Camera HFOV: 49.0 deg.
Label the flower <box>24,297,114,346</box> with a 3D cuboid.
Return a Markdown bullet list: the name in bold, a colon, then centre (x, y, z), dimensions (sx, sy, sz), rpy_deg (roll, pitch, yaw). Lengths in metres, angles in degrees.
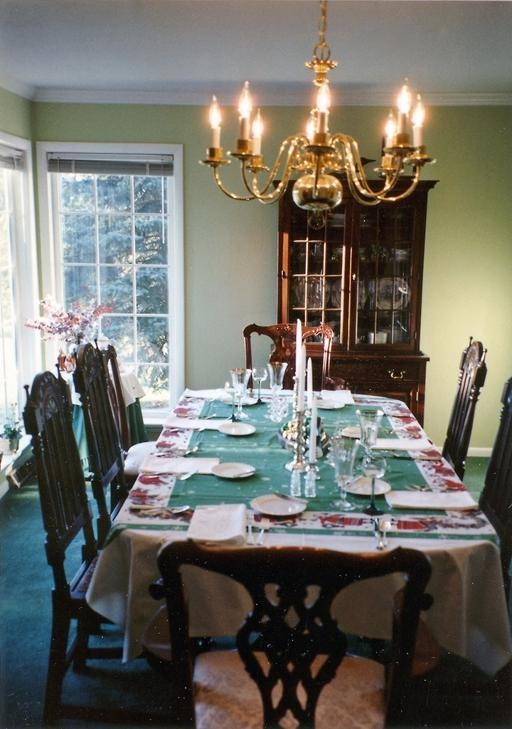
- **flower**: centre (-1.283, -0.293, 3.738), dimensions (0.356, 0.250, 0.350), rpy_deg (6, 21, 23)

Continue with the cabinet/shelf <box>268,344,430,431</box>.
- **cabinet/shelf**: centre (0.492, 0.106, 2.920), dimensions (0.554, 0.505, 0.218), rpy_deg (1, 5, 3)
